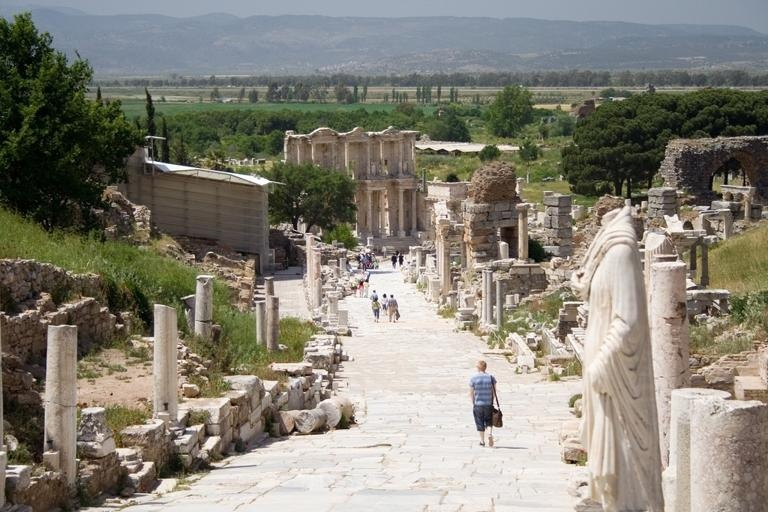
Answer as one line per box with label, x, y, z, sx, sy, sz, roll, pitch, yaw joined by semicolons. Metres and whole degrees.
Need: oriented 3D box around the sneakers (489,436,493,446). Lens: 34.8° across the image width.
sneakers;2.421;4.209;27.683;0.091;0.209;0.088;-2;2;3
